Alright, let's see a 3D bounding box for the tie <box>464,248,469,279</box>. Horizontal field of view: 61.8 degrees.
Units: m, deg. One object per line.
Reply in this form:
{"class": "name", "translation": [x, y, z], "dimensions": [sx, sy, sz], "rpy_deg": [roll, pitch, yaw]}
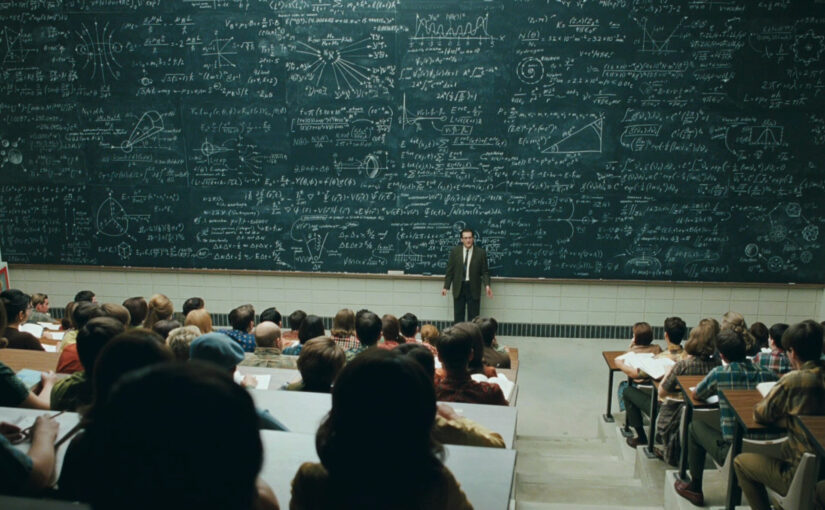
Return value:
{"class": "tie", "translation": [0.676, 0.116, 8.484], "dimensions": [0.079, 0.376, 0.034], "rpy_deg": [1, 4, 3]}

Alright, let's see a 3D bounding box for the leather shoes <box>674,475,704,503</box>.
{"class": "leather shoes", "translation": [2.256, 1.938, 5.662], "dimensions": [0.122, 0.089, 0.245], "rpy_deg": [-5, 13, -6]}
